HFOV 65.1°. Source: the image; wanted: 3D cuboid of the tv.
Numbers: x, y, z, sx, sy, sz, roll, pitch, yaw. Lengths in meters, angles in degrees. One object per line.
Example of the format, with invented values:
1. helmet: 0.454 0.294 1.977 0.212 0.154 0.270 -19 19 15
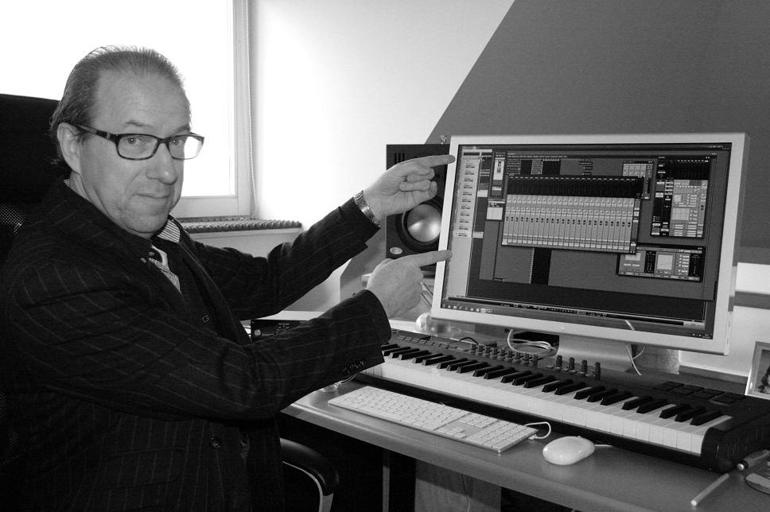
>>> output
1. tv: 0.573 -0.008 1.685 0.819 0.503 0.128 6 -5 24

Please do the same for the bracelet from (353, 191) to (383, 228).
1. bracelet: -0.051 -0.139 1.763 0.038 0.093 0.082 -37 9 7
